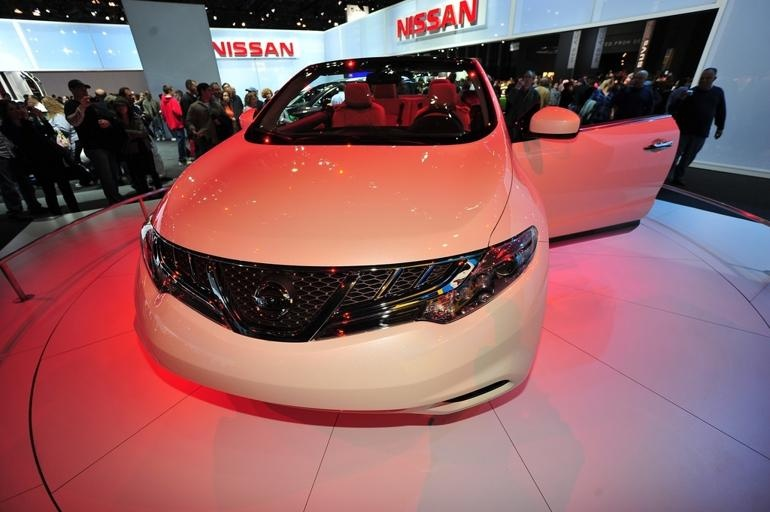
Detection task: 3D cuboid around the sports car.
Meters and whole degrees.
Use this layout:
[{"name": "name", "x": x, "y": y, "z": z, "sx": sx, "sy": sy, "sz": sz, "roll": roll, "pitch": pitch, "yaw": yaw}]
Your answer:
[{"name": "sports car", "x": 0.283, "y": -0.160, "z": 3.310, "sx": 2.627, "sy": 1.272, "sz": 3.411, "roll": 5, "pitch": 32, "yaw": 16}]
